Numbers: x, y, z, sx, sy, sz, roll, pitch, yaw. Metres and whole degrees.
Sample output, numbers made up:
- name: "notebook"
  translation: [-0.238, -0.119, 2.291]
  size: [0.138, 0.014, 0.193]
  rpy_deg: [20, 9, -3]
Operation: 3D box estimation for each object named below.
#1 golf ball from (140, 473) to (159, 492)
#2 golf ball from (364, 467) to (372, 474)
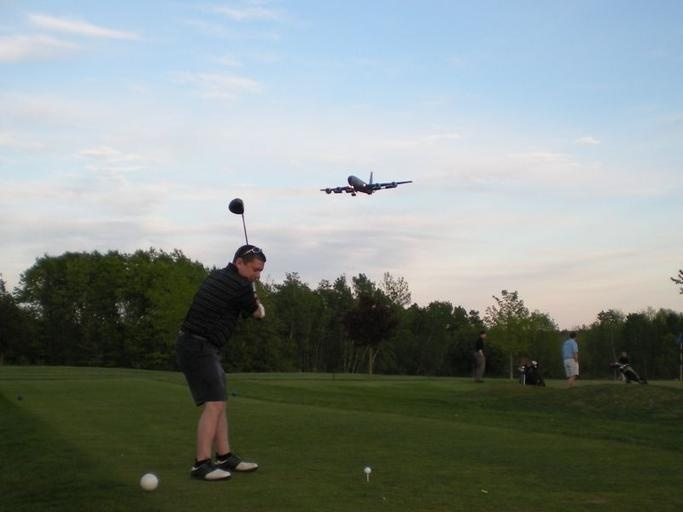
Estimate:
- name: "golf ball"
  translation: [-2.696, 3.159, 10.447]
  size: [0.238, 0.225, 0.197]
  rpy_deg: [2, -7, -14]
- name: "golf ball"
  translation: [0.412, 3.251, 11.294]
  size: [0.123, 0.073, 0.156]
  rpy_deg: [1, 1, -6]
